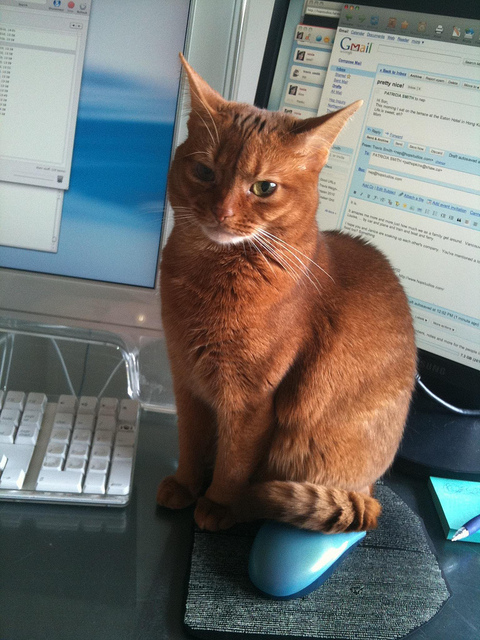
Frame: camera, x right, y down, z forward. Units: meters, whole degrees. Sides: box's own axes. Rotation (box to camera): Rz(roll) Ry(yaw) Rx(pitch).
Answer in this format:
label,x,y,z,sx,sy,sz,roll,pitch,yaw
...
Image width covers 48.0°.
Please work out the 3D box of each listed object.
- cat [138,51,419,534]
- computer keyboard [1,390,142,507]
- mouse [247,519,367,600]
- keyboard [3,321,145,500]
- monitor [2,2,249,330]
label,x,y,z,sx,sy,sz,roll,pitch,yaw
cat,0.061,0.003,0.704,0.299,0.527,0.411,11,17,27
computer keyboard,-0.207,0.155,0.640,0.131,0.039,0.174,14,28,-19
mouse,0.075,0.249,0.560,0.133,0.040,0.085,12,29,-10
keyboard,-0.202,0.126,0.661,0.204,0.055,0.270,13,41,-29
monitor,-0.154,-0.224,0.715,0.428,0.471,0.033,7,5,-5
